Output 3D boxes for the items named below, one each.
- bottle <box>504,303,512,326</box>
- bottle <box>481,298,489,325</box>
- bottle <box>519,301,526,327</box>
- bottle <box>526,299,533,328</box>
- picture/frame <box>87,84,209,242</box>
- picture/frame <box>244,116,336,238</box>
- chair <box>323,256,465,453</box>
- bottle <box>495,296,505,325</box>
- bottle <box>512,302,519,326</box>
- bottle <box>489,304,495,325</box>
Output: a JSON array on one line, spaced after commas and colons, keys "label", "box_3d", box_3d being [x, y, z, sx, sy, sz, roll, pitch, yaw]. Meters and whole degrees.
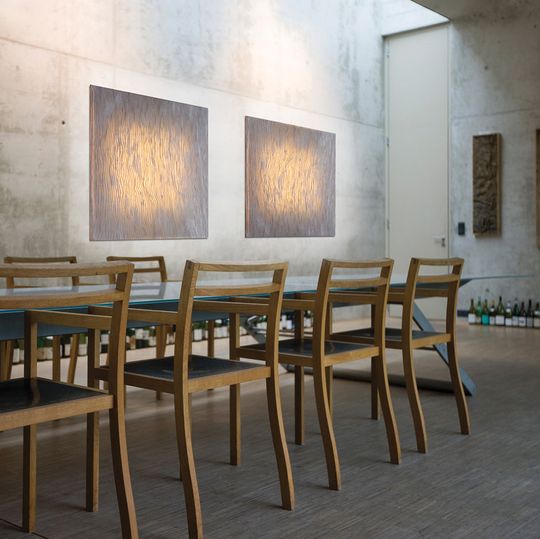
[{"label": "bottle", "box_3d": [2.924, 0.553, 6.699, 0.089, 0.248, 0.190, 1, 5, 25]}, {"label": "bottle", "box_3d": [2.701, 0.530, 6.859, 0.094, 0.289, 0.199, 1, 5, 23]}, {"label": "bottle", "box_3d": [3.061, 0.535, 6.626, 0.076, 0.278, 0.162, 1, 5, 25]}, {"label": "bottle", "box_3d": [3.129, 0.521, 6.589, 0.066, 0.311, 0.152, 1, 5, 27]}, {"label": "picture/frame", "box_3d": [-1.122, -0.942, 4.865, 0.085, 1.519, 1.197, -2, -3, 43]}, {"label": "picture/frame", "box_3d": [0.187, -1.057, 6.260, 0.090, 1.352, 1.232, -1, -2, 40]}, {"label": "chair", "box_3d": [0.712, 0.348, 2.921, 0.720, 1.306, 0.648, 1, 1, 37]}, {"label": "bottle", "box_3d": [2.847, 0.508, 6.767, 0.091, 0.334, 0.201, 1, 5, 23]}, {"label": "bottle", "box_3d": [2.994, 0.546, 6.673, 0.053, 0.250, 0.148, 1, 5, 25]}, {"label": "bottle", "box_3d": [2.776, 0.560, 6.817, 0.068, 0.226, 0.186, 1, 5, 23]}]
